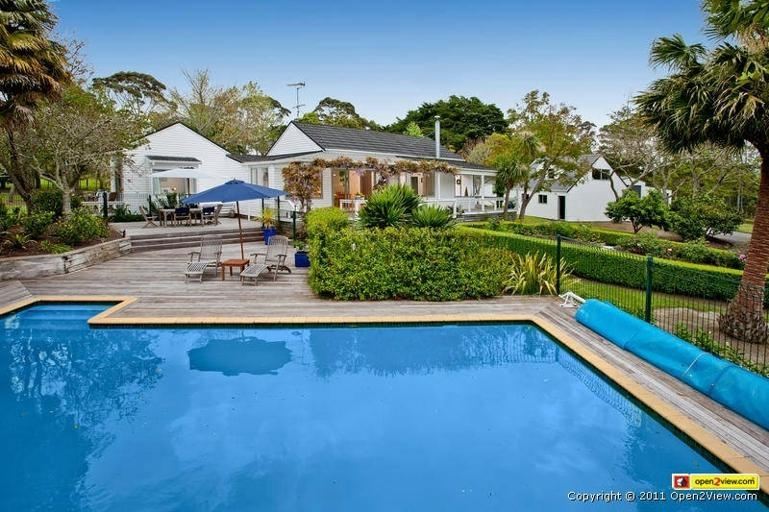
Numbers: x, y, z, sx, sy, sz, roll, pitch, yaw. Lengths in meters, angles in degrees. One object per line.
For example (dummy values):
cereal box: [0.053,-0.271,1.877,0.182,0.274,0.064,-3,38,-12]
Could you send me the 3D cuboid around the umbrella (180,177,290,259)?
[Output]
umbrella: [-5.605,-1.002,20.712,3.500,3.357,3.698,-5,15,-13]
